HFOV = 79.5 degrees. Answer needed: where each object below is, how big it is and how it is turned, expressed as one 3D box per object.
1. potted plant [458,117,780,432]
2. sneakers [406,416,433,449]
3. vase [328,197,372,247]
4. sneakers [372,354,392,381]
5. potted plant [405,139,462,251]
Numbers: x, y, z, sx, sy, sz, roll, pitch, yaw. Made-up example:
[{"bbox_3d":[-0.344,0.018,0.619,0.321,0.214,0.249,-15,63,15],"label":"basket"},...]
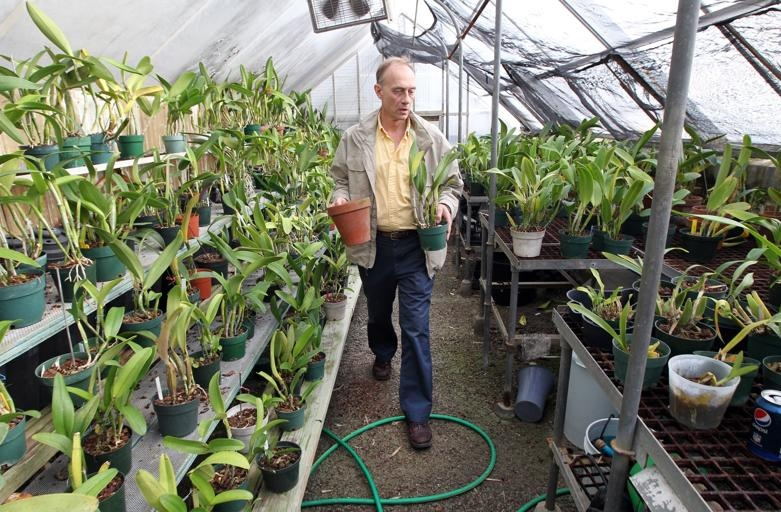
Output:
[{"bbox_3d":[1.186,0.243,3.663,1.768,1.554,2.498,4,26,8],"label":"potted plant"},{"bbox_3d":[0.183,1.093,2.953,0.130,0.124,0.369,-3,-1,-2],"label":"sneakers"},{"bbox_3d":[-0.220,-0.185,2.663,0.262,0.230,0.265,-14,7,0],"label":"vase"},{"bbox_3d":[-0.063,0.821,3.378,0.092,0.091,0.200,1,0,-3],"label":"sneakers"},{"bbox_3d":[0.258,-0.353,2.775,0.294,0.641,0.393,0,14,7],"label":"potted plant"}]
